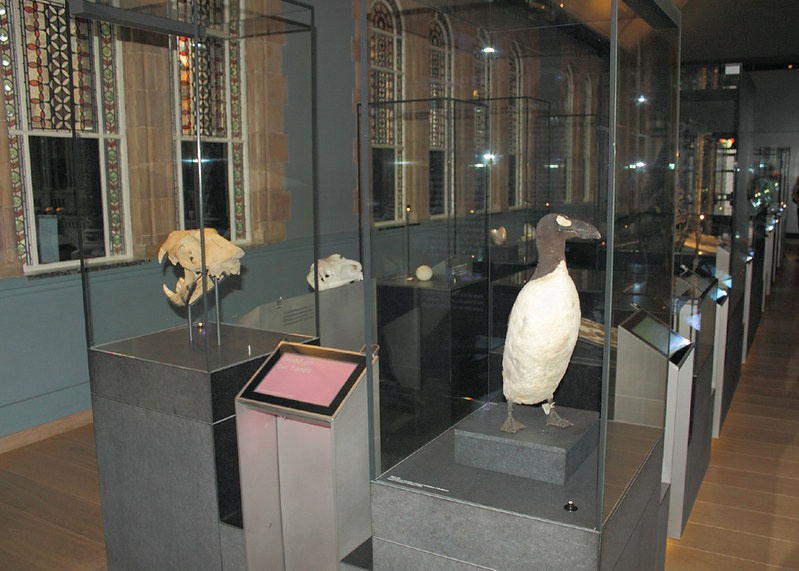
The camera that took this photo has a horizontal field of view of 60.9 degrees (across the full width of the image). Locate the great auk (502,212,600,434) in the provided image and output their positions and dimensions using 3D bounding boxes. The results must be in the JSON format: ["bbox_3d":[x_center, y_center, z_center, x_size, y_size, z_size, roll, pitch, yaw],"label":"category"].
[{"bbox_3d":[0.515,0.130,2.520,0.313,0.742,0.369,8,12,17],"label":"great auk"}]

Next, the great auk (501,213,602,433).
[{"bbox_3d":[0.517,0.151,2.442,0.271,0.833,0.307,5,7,42],"label":"great auk"}]

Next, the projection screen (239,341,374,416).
[{"bbox_3d":[-0.405,0.395,2.933,0.556,0.211,0.269,7,16,31],"label":"projection screen"}]
